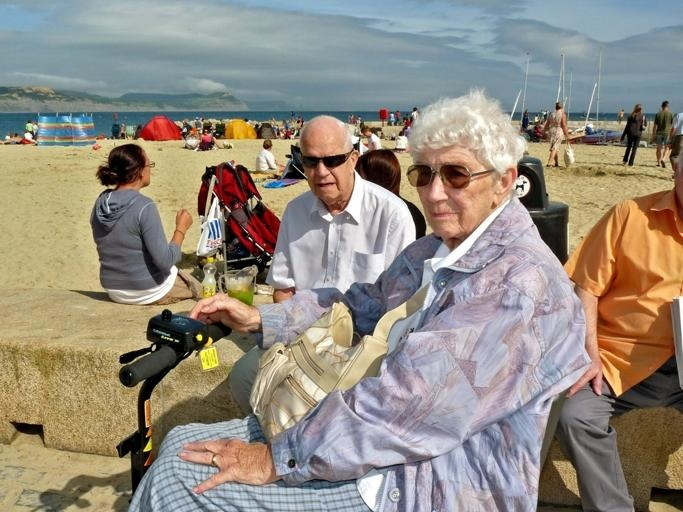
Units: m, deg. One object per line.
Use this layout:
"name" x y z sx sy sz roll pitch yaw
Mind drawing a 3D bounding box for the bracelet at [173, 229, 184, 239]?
"bracelet" -1.482 -0.194 5.639 0.094 0.065 0.120 4 1 -27

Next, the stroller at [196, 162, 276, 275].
"stroller" -1.024 -0.398 6.980 1.078 1.168 0.755 16 22 19

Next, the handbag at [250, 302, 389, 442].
"handbag" -0.128 0.509 2.648 0.374 0.630 0.508 25 8 -30

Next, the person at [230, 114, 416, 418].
"person" -0.157 0.088 3.649 1.289 1.675 1.153 1 11 -4

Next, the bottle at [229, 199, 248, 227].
"bottle" -1.138 -0.468 6.873 0.198 0.247 0.092 -38 17 -23
